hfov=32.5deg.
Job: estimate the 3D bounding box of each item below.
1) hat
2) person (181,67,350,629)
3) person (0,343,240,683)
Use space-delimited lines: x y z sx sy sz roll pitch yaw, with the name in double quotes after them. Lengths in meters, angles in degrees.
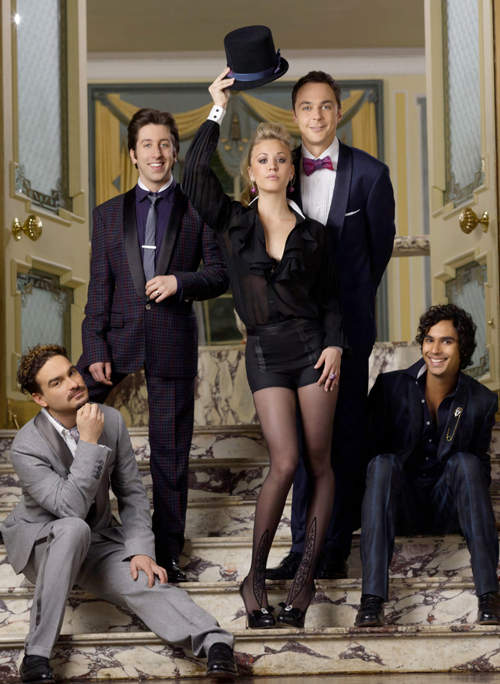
-0.005 -0.697 2.138 0.183 0.094 0.200 19 41 34 "hat"
0.057 -0.021 2.035 0.338 1.299 0.376 0 0 -31 "person"
-0.389 0.382 2.033 0.522 0.737 0.758 -2 -5 -39 "person"
